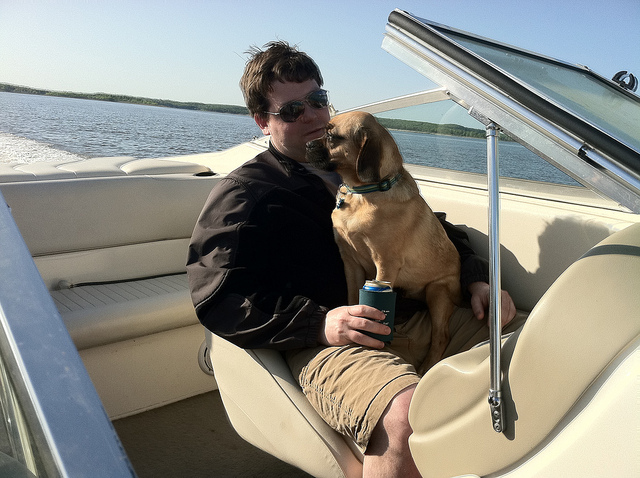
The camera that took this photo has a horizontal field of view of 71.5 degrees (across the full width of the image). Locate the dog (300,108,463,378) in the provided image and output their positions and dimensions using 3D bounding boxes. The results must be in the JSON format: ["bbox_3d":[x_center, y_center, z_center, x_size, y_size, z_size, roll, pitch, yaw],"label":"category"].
[{"bbox_3d":[0.379,0.003,2.330,0.760,1.328,0.522,-4,16,-1],"label":"dog"}]

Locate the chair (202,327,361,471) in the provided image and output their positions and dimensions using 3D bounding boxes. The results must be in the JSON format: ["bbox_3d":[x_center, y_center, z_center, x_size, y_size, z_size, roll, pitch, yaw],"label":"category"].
[{"bbox_3d":[-0.121,0.788,2.083,0.655,0.499,0.660,-4,52,25],"label":"chair"}]
